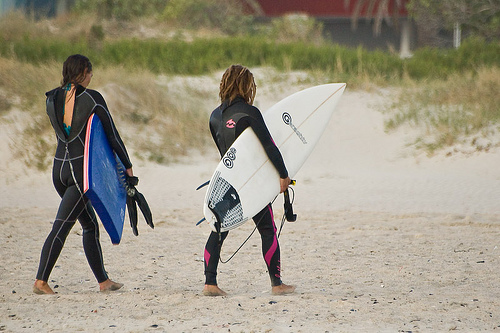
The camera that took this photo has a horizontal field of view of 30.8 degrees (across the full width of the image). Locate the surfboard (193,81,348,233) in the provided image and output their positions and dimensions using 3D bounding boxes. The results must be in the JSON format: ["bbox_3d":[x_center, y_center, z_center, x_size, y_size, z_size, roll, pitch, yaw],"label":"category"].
[{"bbox_3d":[0.453,-0.054,19.046,2.703,0.857,2.693,-39,11,-30],"label":"surfboard"}]

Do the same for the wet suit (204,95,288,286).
[{"bbox_3d":[-0.045,0.464,17.052,1.492,3.508,0.738,2,12,2],"label":"wet suit"}]

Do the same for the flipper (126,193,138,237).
[{"bbox_3d":[-2.219,0.923,17.321,0.181,0.837,0.236,-7,9,17],"label":"flipper"}]
